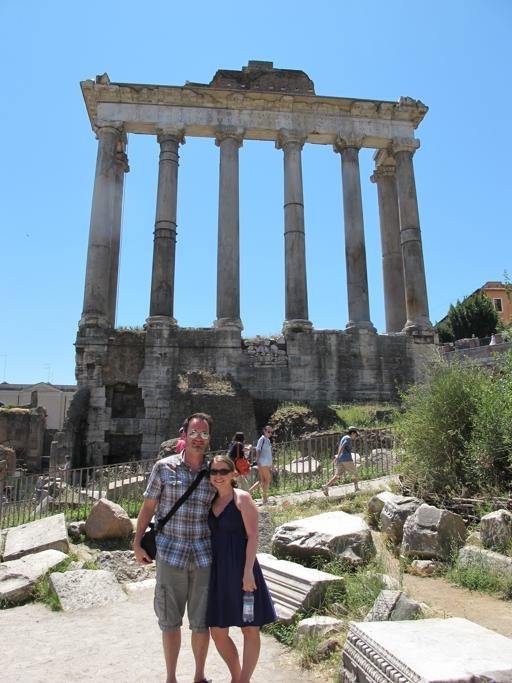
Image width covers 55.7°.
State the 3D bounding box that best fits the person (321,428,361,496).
[{"bbox_3d":[1.739,2.400,9.850,0.693,1.233,1.637,-3,-10,11],"label":"person"}]

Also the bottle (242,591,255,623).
[{"bbox_3d":[-0.044,1.588,2.885,0.076,0.176,0.151,-1,-9,0],"label":"bottle"}]

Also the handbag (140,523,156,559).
[{"bbox_3d":[-0.672,1.278,3.058,0.044,0.178,0.120,-13,-30,41],"label":"handbag"}]
